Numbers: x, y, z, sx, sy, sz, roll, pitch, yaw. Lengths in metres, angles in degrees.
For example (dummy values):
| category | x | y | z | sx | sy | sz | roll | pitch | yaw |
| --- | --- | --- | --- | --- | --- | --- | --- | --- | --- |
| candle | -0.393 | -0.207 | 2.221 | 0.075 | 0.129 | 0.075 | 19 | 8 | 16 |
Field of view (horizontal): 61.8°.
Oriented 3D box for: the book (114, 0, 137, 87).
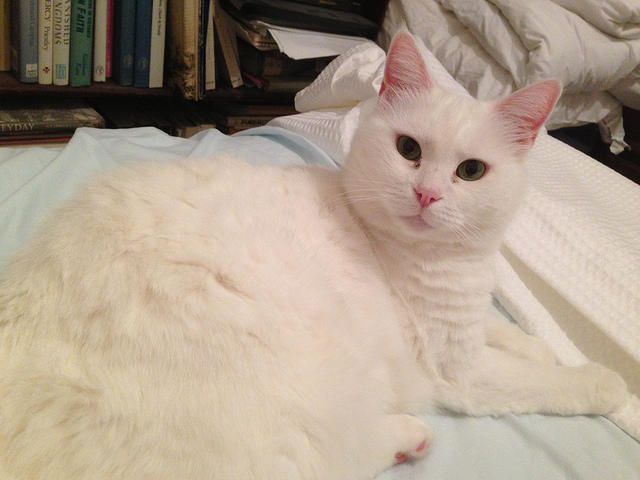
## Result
| category | x | y | z | sx | sy | sz | roll | pitch | yaw |
| --- | --- | --- | --- | --- | --- | --- | --- | --- | --- |
| book | -0.818 | -0.829 | 2.246 | 0.055 | 0.269 | 0.249 | -2 | 17 | -22 |

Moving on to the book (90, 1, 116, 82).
| category | x | y | z | sx | sy | sz | roll | pitch | yaw |
| --- | --- | --- | --- | --- | --- | --- | --- | --- | --- |
| book | -0.897 | -0.811 | 2.209 | 0.053 | 0.258 | 0.242 | 6 | 8 | -7 |
